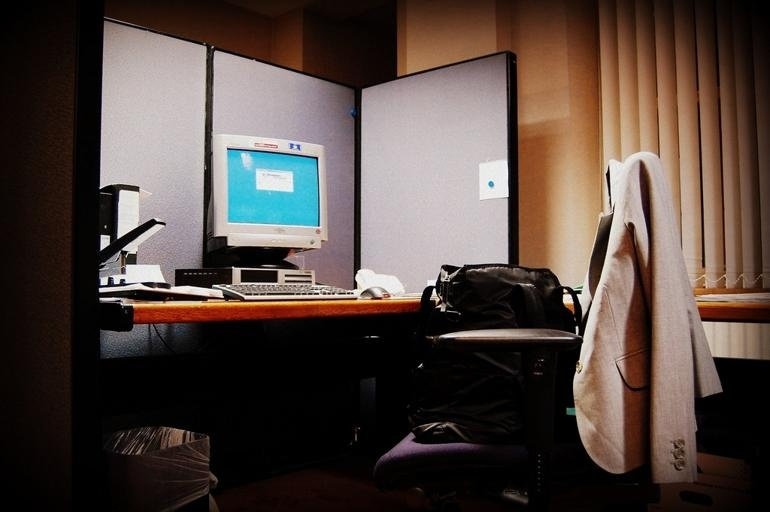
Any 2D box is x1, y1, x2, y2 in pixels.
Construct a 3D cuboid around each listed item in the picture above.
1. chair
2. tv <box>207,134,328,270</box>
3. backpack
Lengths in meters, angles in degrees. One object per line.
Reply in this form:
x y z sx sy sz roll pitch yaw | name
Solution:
0.656 0.257 2.155 1.125 1.064 0.758 1 -5 12 | chair
-0.526 -0.238 2.689 0.573 0.517 0.310 2 -10 -29 | tv
0.322 0.405 2.078 0.616 0.633 0.442 -4 -38 7 | backpack
